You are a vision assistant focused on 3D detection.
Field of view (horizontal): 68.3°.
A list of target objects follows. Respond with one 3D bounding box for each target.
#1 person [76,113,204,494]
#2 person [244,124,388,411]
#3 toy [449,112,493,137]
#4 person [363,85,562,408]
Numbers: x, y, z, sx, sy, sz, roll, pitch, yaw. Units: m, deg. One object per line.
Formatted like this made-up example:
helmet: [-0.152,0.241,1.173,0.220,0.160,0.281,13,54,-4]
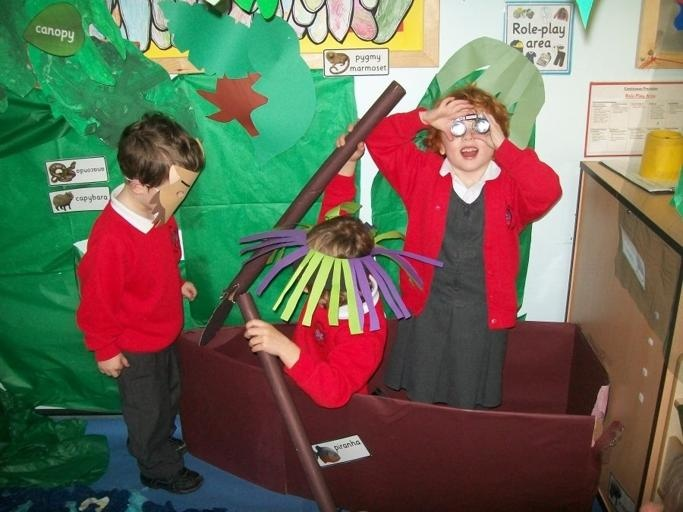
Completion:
person: [-0.711,0.198,1.826,0.438,1.391,0.238,-5,9,-29]
person: [-0.066,0.038,1.674,0.426,0.867,0.490,0,8,4]
toy: [0.420,-0.421,1.603,0.101,0.074,0.025,-15,27,20]
person: [0.406,-0.025,1.759,0.632,1.107,0.243,3,9,22]
